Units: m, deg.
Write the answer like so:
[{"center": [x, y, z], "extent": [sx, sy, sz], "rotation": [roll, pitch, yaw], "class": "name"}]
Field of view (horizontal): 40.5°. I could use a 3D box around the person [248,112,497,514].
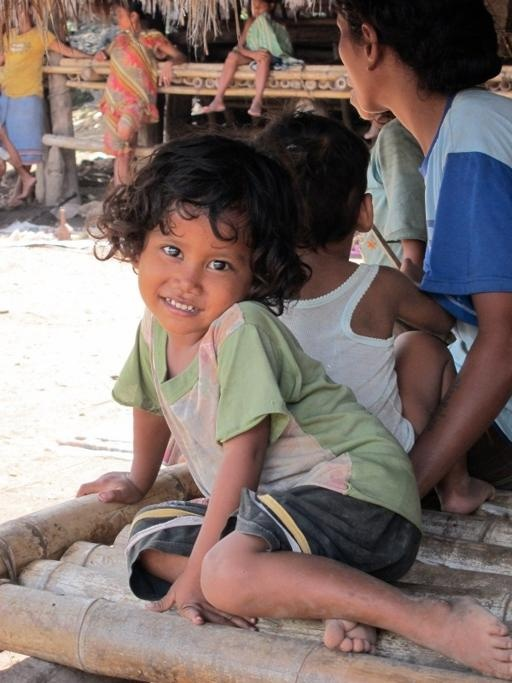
[{"center": [0.174, -0.053, 1.712], "extent": [0.517, 0.920, 0.523], "rotation": [13, 30, 42], "class": "person"}]
